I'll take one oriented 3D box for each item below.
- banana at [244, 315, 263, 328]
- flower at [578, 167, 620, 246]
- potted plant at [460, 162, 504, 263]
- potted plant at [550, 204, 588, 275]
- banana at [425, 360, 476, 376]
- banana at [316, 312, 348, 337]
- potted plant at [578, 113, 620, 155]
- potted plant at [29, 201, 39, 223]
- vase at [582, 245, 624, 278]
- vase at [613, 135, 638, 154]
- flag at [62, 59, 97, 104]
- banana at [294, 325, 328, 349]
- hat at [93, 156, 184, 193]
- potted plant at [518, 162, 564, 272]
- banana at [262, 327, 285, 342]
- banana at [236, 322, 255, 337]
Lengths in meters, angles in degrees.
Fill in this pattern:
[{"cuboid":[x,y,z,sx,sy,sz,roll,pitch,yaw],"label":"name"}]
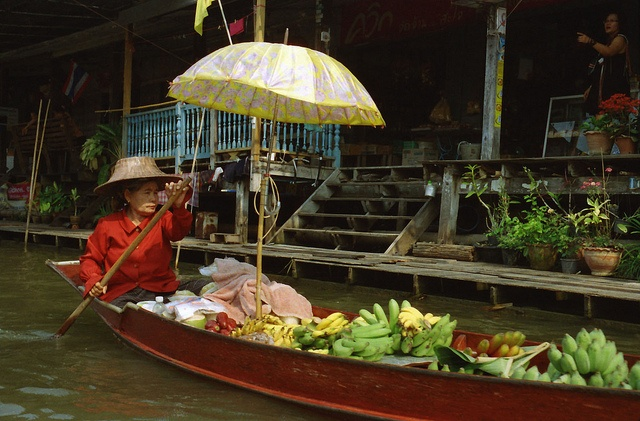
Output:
[{"cuboid":[-0.766,1.306,7.160,0.088,0.119,0.293,-2,-4,22],"label":"banana"},{"cuboid":[4.625,-0.070,10.183,0.640,1.410,0.595,-1,-14,29],"label":"flower"},{"cuboid":[3.085,0.033,11.257,0.820,1.885,0.720,-5,-9,26],"label":"potted plant"},{"cuboid":[4.009,0.563,10.252,0.503,0.958,0.543,4,-14,-28],"label":"potted plant"},{"cuboid":[1.297,1.551,6.011,0.262,0.095,0.062,10,45,30],"label":"banana"},{"cuboid":[0.130,1.256,6.722,0.149,0.105,0.325,13,31,30],"label":"banana"},{"cuboid":[4.829,-1.288,10.570,0.566,0.595,0.630,6,2,-31],"label":"potted plant"},{"cuboid":[-9.082,0.016,19.526,0.335,0.685,1.124,-9,11,-25],"label":"potted plant"},{"cuboid":[4.485,0.799,9.792,0.483,0.355,0.493,3,-2,12],"label":"vase"},{"cuboid":[5.127,-1.096,10.306,0.334,0.289,0.243,1,12,27],"label":"vase"},{"cuboid":[-7.368,-3.947,18.553,0.976,1.737,0.181,-17,-26,9],"label":"flag"},{"cuboid":[-0.114,1.372,6.536,0.219,0.122,0.310,-10,35,-23],"label":"banana"},{"cuboid":[-2.270,-0.448,7.642,0.644,0.190,0.622,3,-15,-27],"label":"hat"},{"cuboid":[3.832,0.279,10.555,0.791,1.463,0.842,-1,-4,-34],"label":"potted plant"},{"cuboid":[-0.475,1.366,6.814,0.173,0.058,0.176,12,23,18],"label":"banana"},{"cuboid":[-0.854,1.367,7.001,0.080,0.112,0.302,14,-8,-10],"label":"banana"}]
